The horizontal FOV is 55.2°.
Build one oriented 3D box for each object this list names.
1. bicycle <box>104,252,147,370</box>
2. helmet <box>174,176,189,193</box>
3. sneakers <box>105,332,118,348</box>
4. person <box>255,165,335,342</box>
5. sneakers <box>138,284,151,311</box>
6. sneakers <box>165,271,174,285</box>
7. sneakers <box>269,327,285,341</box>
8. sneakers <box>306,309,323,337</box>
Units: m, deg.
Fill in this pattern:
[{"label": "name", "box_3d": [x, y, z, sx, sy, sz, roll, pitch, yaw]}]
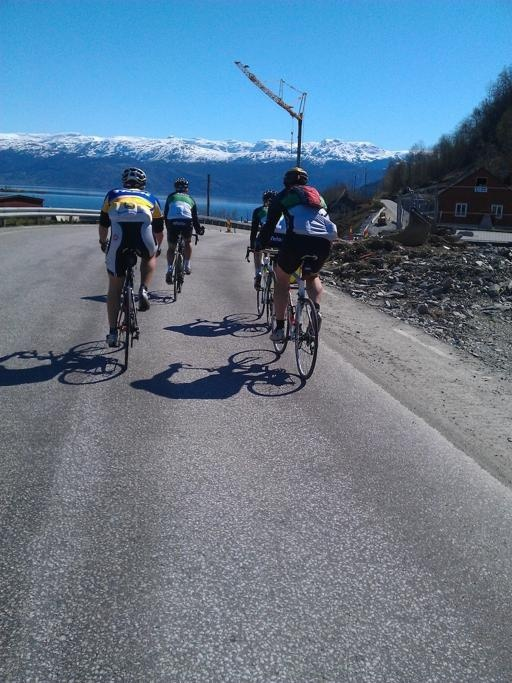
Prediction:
[{"label": "bicycle", "box_3d": [-1.495, -0.448, 5.737, 0.432, 0.737, 1.236, 3, 32, -11]}, {"label": "helmet", "box_3d": [-1.567, -3.252, 10.271, 0.346, 0.472, 0.480, 4, 18, -2]}, {"label": "sneakers", "box_3d": [-1.670, -0.009, 5.671, 0.115, 0.181, 0.165, 5, -8, -8]}, {"label": "person", "box_3d": [0.454, -0.934, 5.645, 0.884, 2.113, 0.880, 3, 10, -1]}, {"label": "sneakers", "box_3d": [-1.317, -0.459, 5.821, 0.109, 0.165, 0.339, -1, -20, -5]}, {"label": "sneakers", "box_3d": [-1.674, -1.213, 9.459, 0.113, 0.215, 0.245, 2, 11, -5]}, {"label": "sneakers", "box_3d": [0.257, -0.086, 6.074, 0.081, 0.173, 0.246, 0, 24, -11]}, {"label": "sneakers", "box_3d": [0.669, -0.190, 5.297, 0.097, 0.272, 0.179, 6, -5, -27]}]
